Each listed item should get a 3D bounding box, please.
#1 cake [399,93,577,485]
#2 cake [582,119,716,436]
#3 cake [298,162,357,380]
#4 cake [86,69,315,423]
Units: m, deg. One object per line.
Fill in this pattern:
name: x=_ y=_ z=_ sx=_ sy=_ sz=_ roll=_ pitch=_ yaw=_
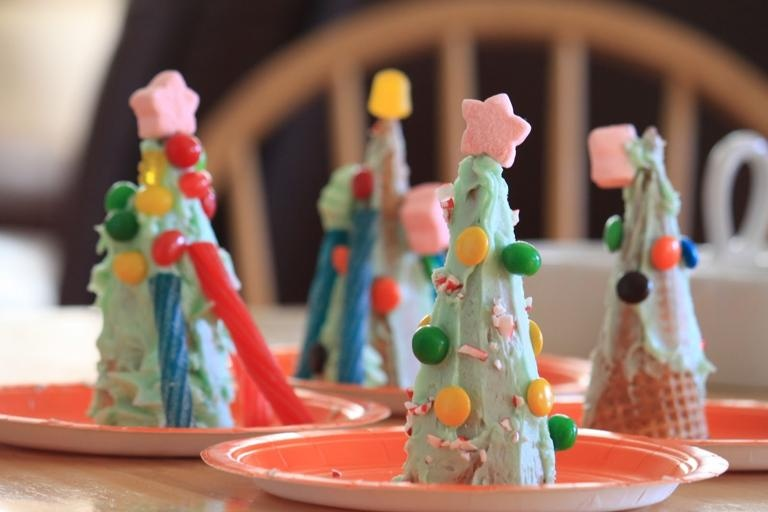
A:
cake: x=0.136 y=0.039 z=1.396 sx=0.219 sy=0.482 sz=0.097 roll=2 pitch=-5 yaw=1
cake: x=0.373 y=0.035 z=1.566 sx=0.179 sy=0.428 sz=0.093 roll=2 pitch=-5 yaw=6
cake: x=-0.084 y=0.035 z=1.893 sx=0.106 sy=0.421 sz=0.105 roll=4 pitch=26 yaw=16
cake: x=-0.255 y=-0.007 z=1.583 sx=0.311 sy=0.493 sz=0.095 roll=4 pitch=-6 yaw=-17
